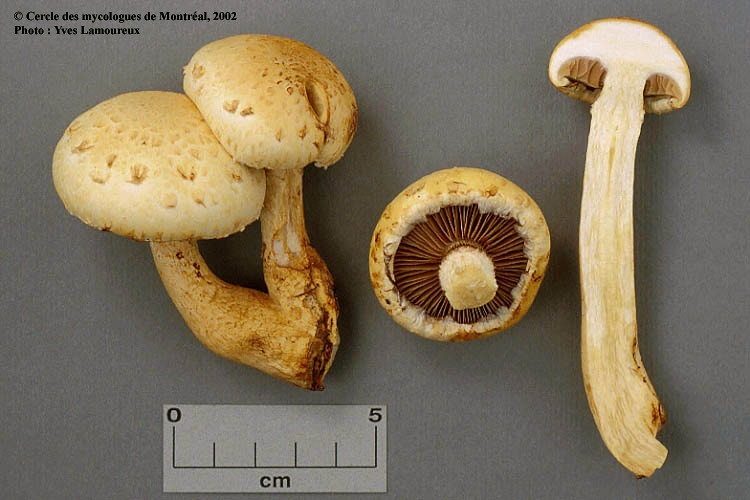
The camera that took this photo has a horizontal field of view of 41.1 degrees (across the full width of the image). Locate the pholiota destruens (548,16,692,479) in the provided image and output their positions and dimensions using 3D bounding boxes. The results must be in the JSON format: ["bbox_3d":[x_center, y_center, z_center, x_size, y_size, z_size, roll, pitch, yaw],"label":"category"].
[{"bbox_3d":[0.970,-0.056,4.146,0.733,0.637,1.902,8,77,-22],"label":"pholiota destruens"}]

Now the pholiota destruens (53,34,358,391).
[{"bbox_3d":[-0.625,-0.249,3.968,1.205,0.502,1.276,15,80,6],"label":"pholiota destruens"}]

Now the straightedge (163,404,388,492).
[{"bbox_3d":[-0.418,0.843,4.197,0.922,0.112,0.353,0,79,3],"label":"straightedge"}]

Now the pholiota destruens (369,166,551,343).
[{"bbox_3d":[0.321,-0.001,4.078,0.687,0.313,0.692,16,105,-7],"label":"pholiota destruens"}]
